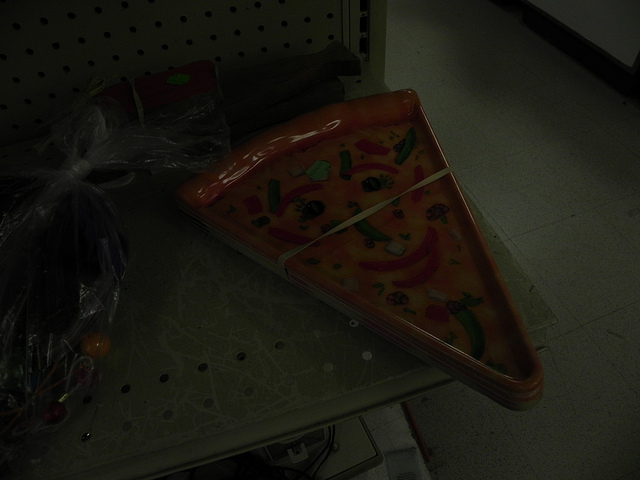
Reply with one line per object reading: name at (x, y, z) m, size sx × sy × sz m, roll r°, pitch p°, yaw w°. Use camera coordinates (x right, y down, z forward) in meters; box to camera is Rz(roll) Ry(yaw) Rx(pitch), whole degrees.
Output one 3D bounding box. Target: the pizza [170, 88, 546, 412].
pizza at (0.127, -0.076, 0.857) m, size 0.650 × 0.108 × 0.445 m, roll 29°, pitch 74°, yaw 18°
